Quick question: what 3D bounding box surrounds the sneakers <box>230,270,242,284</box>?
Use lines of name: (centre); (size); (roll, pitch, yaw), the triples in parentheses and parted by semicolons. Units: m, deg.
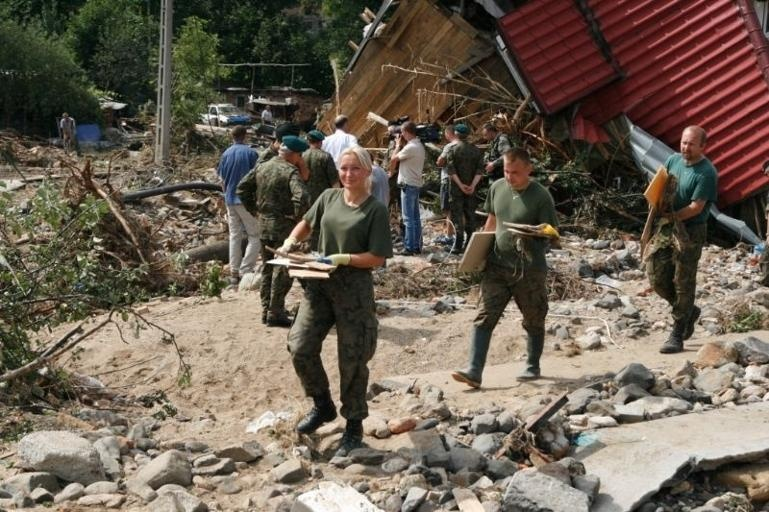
sneakers: (-2.457, 0.336, 14.223); (0.258, 0.224, 0.189); (2, -7, -3)

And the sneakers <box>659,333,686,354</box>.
sneakers: (3.790, 1.135, 11.299); (0.156, 0.174, 0.449); (3, -2, 39)

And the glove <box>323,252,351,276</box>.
glove: (-0.508, 0.078, 9.199); (0.197, 0.223, 0.313); (15, 21, 39)

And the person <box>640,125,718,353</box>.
person: (3.802, -0.223, 11.192); (0.783, 2.858, 0.743); (11, 20, 30)

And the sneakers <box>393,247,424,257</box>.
sneakers: (0.428, -0.089, 15.557); (0.530, 0.199, 0.168); (-3, 7, 1)

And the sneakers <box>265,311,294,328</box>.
sneakers: (-1.475, 0.856, 11.952); (0.418, 0.254, 0.149); (-9, 26, -23)

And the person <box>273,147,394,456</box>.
person: (-0.619, 0.421, 9.441); (1.214, 3.171, 1.092); (8, 19, 22)

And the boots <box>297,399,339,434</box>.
boots: (-0.744, 1.773, 9.637); (0.505, 0.306, 0.160); (-24, 20, -3)
